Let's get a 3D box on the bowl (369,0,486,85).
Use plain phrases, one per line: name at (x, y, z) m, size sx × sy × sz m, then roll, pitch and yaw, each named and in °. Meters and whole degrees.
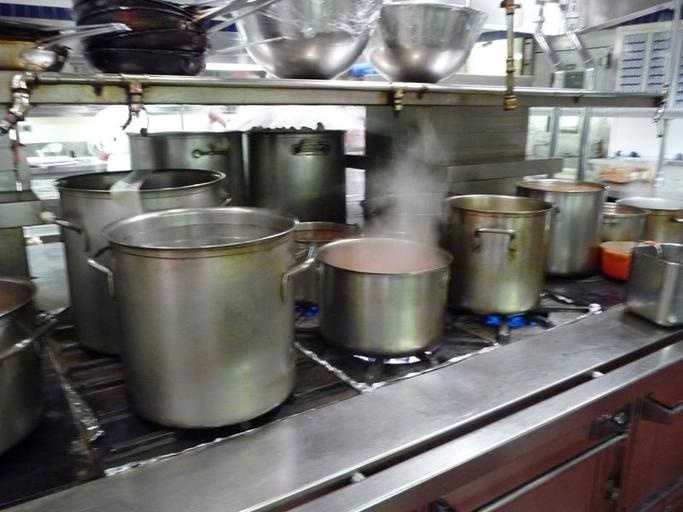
bowl at (0.272, -0.717, 1.907) m, size 0.407 × 0.163 × 0.368 m, roll -7°, pitch 20°, yaw -38°
